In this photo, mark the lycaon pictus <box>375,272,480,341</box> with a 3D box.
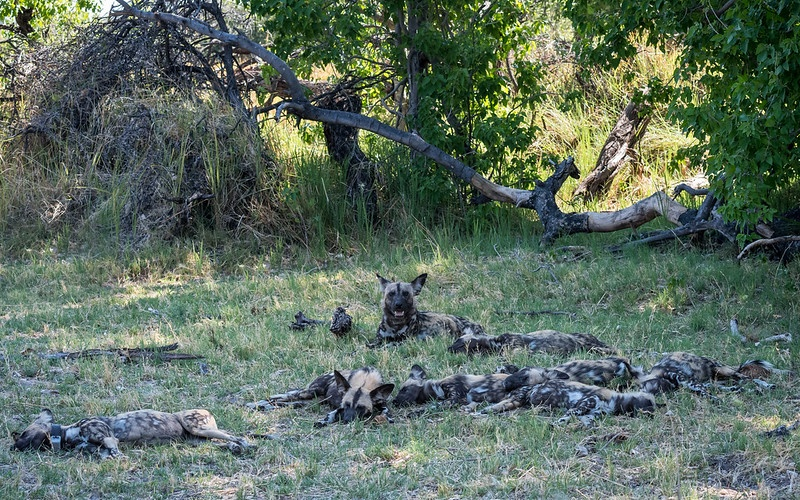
[{"bbox_3d":[0.591,0.981,18.596,1.975,1.085,0.797,4,-2,-23],"label":"lycaon pictus"}]

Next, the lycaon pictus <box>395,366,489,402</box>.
[{"bbox_3d":[0.744,1.965,16.683,1.360,0.730,0.516,-3,9,-2],"label":"lycaon pictus"}]

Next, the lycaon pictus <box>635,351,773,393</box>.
[{"bbox_3d":[4.342,1.765,16.559,1.054,0.390,0.912,-13,-7,-16],"label":"lycaon pictus"}]

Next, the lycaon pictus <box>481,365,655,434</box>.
[{"bbox_3d":[2.455,2.192,16.520,2.332,0.869,0.981,6,-42,13],"label":"lycaon pictus"}]
